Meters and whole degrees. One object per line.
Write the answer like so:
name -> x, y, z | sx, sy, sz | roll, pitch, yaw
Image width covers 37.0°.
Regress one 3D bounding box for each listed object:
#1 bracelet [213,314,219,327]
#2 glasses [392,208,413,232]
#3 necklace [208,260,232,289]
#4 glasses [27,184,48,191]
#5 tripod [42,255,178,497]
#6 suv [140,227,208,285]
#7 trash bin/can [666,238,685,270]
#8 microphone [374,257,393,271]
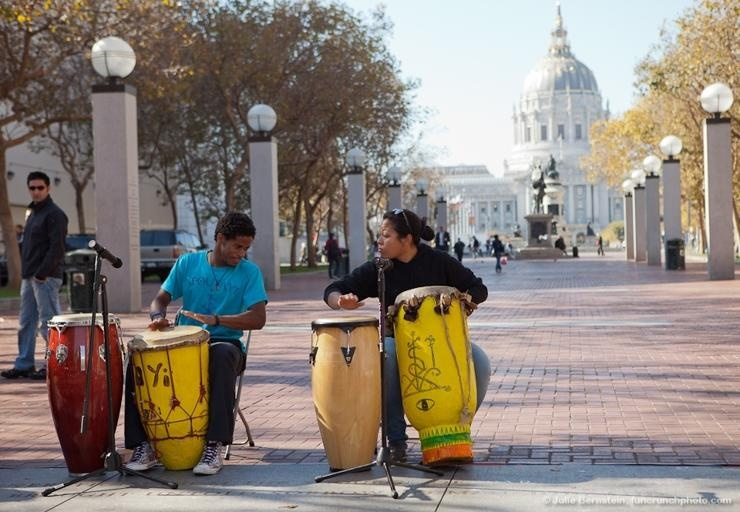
bracelet -> -1.738, 0.727, 12.528 | 0.060, 0.124, 0.113 | -3, 8, -8
glasses -> 0.382, -0.427, 12.440 | 0.070, 0.239, 0.226 | -18, 8, -26
necklace -> -1.745, 0.214, 12.687 | 0.195, 0.264, 0.135 | 5, -1, 1
glasses -> -4.680, -0.970, 15.446 | 0.243, 0.087, 0.110 | 1, 9, 18
tripod -> -3.002, 1.134, 12.295 | 1.344, 2.669, 1.580 | -4, 9, -15
suv -> -6.464, -0.134, 36.209 | 1.800, 1.384, 3.278 | 0, 5, 9
trash bin/can -> 9.934, -0.087, 36.008 | 0.578, 1.018, 0.582 | 0, 9, 11
microphone -> 0.169, 0.080, 12.134 | 0.127, 0.090, 0.165 | 3, -9, 30
